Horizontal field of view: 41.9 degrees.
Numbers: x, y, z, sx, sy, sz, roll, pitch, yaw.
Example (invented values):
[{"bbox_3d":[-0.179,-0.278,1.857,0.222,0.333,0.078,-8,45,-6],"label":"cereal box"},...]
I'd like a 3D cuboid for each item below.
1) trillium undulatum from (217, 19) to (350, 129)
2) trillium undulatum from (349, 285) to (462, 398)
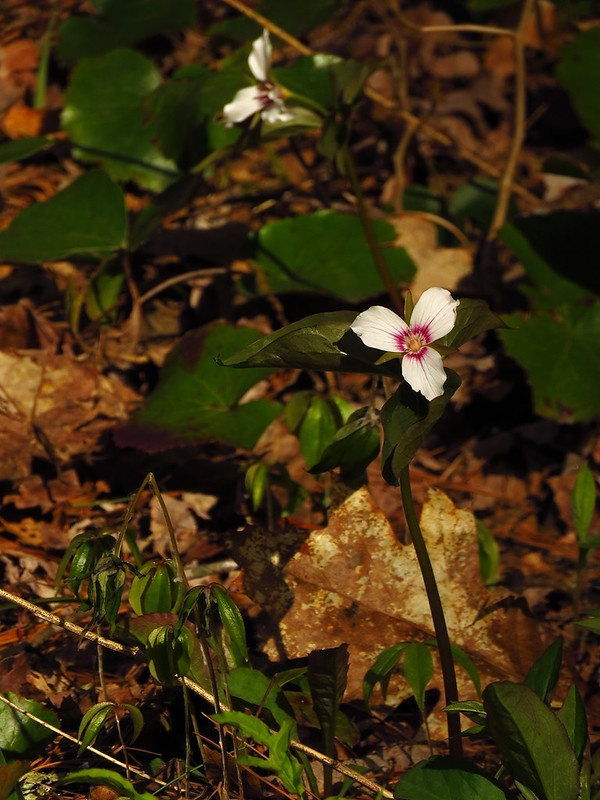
[{"bbox_3d":[-0.015,-0.579,1.497,0.233,0.212,0.094,-33,-10,-7],"label":"trillium undulatum"},{"bbox_3d":[0.183,-0.099,1.288,0.144,0.134,0.156,11,37,33],"label":"trillium undulatum"}]
